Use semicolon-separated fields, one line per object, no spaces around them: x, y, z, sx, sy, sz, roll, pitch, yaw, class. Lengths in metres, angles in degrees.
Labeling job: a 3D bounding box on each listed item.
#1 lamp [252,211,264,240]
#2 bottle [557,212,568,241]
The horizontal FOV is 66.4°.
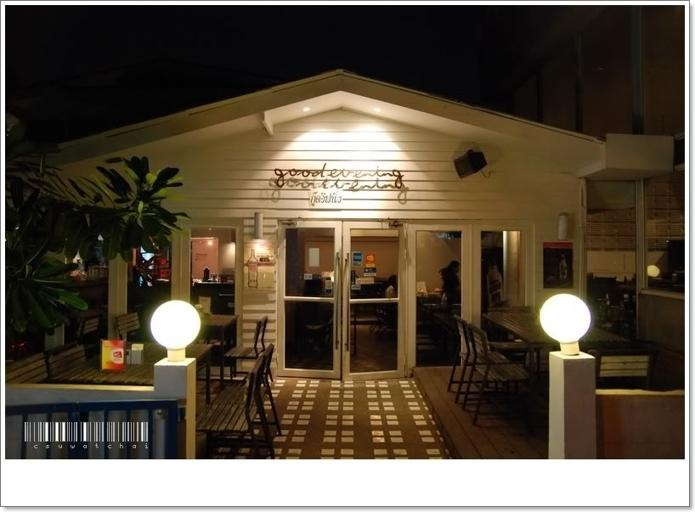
-1.385;-0.470;8.355;0.166;0.427;0.118;-5;6;-14;lamp
3.428;-0.461;8.428;0.146;0.409;0.075;-3;6;9;bottle
